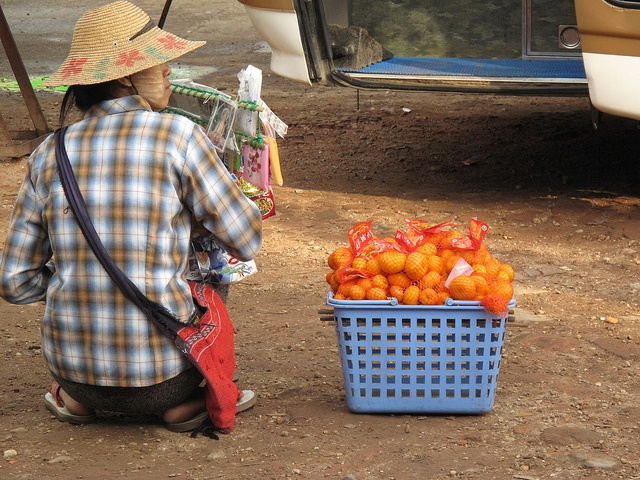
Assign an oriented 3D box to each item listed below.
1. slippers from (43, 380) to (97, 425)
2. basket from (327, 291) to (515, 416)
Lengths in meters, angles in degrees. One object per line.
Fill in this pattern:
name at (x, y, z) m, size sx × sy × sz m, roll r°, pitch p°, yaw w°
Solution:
slippers at (-1.218, 0.755, 3.419) m, size 0.157 × 0.079 × 0.308 m, roll -13°, pitch 26°, yaw -32°
basket at (0.483, 0.448, 3.677) m, size 1.363 × 0.534 × 0.646 m, roll -1°, pitch 18°, yaw 5°
